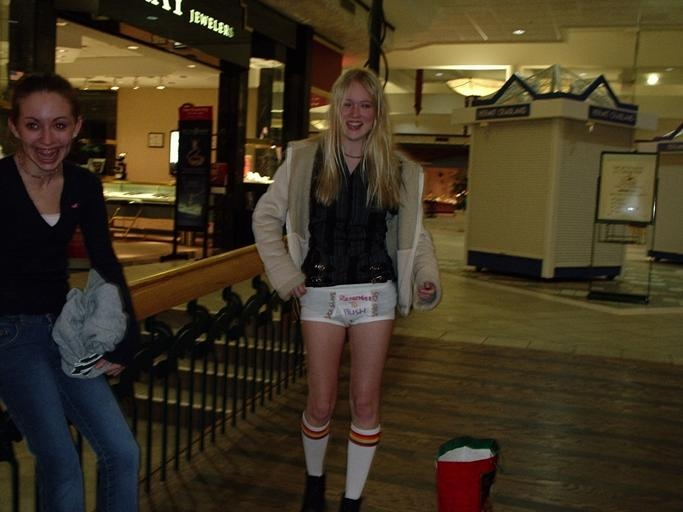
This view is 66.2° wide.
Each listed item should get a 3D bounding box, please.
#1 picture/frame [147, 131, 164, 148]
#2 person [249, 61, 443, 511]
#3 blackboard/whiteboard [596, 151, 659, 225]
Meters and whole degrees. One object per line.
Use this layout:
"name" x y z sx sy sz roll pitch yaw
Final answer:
"picture/frame" -5.533 -3.497 15.667 0.539 0.479 0.038 1 10 7
"person" 0.022 0.199 2.411 0.848 2.105 0.398 1 8 -10
"blackboard/whiteboard" 4.695 -1.115 8.627 1.253 1.504 0.161 5 -2 24
